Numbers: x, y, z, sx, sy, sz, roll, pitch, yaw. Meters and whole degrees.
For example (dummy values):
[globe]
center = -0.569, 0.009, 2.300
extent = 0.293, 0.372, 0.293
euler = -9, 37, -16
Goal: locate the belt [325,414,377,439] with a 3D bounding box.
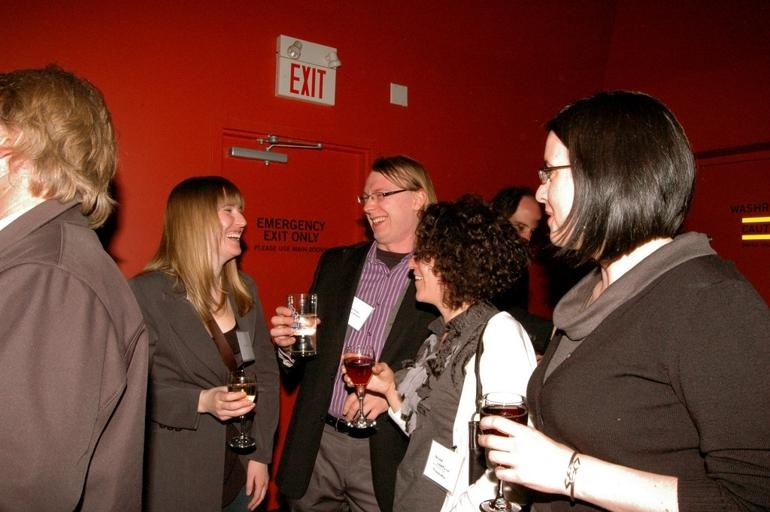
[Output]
[belt]
center = -0.192, 0.898, 3.221
extent = 0.231, 0.055, 0.137
euler = 5, -11, 31

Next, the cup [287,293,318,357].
[cup]
center = -0.441, 0.372, 3.235
extent = 0.156, 0.370, 0.173
euler = 3, 8, -9

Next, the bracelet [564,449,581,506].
[bracelet]
center = 0.637, 0.746, 2.080
extent = 0.029, 0.116, 0.119
euler = 6, -3, 5

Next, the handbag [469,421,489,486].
[handbag]
center = 0.369, 0.813, 2.495
extent = 0.051, 0.215, 0.163
euler = -1, -7, 10
